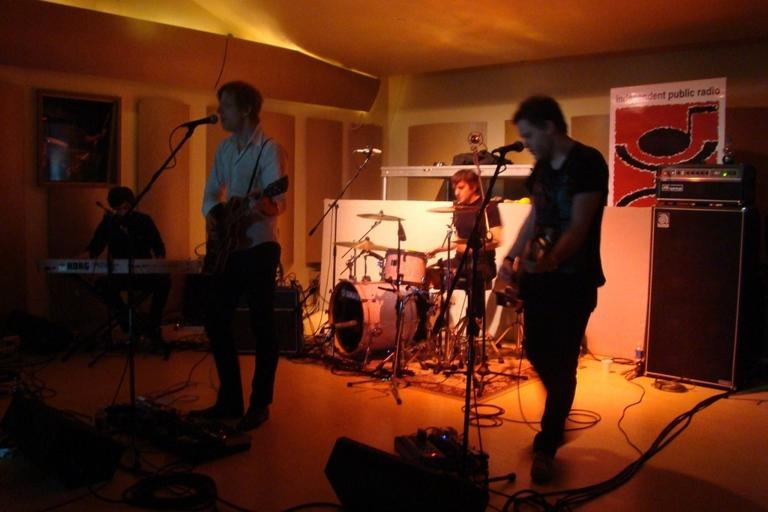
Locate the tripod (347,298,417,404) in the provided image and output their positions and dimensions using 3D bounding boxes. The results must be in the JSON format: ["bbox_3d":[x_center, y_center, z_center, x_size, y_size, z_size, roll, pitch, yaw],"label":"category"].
[{"bbox_3d":[0.056,0.779,6.265,0.806,1.091,0.802,-1,1,-40],"label":"tripod"}]

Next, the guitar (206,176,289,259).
[{"bbox_3d":[-1.060,-0.270,4.878,0.696,0.719,0.259,4,4,10],"label":"guitar"}]

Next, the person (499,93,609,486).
[{"bbox_3d":[1.163,0.241,4.448,0.685,2.680,0.339,4,4,20],"label":"person"}]

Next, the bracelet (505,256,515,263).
[{"bbox_3d":[0.882,0.019,4.444,0.056,0.038,0.032,0,-3,37],"label":"bracelet"}]

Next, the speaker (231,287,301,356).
[{"bbox_3d":[-1.223,0.688,7.045,0.731,0.723,0.560,-1,2,10],"label":"speaker"}]

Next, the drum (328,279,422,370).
[{"bbox_3d":[-0.187,0.658,6.592,0.805,0.720,0.885,-3,-4,38],"label":"drum"}]

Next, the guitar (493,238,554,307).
[{"bbox_3d":[0.925,0.118,4.438,0.160,0.487,0.369,16,10,25],"label":"guitar"}]

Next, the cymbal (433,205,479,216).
[{"bbox_3d":[0.723,-0.487,6.709,0.464,0.102,1.078,3,5,4],"label":"cymbal"}]

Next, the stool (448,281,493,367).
[{"bbox_3d":[0.880,0.626,6.632,0.567,0.657,0.599,-3,-6,34],"label":"stool"}]

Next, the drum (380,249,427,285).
[{"bbox_3d":[0.192,0.084,6.337,0.358,0.270,0.365,5,3,0],"label":"drum"}]
